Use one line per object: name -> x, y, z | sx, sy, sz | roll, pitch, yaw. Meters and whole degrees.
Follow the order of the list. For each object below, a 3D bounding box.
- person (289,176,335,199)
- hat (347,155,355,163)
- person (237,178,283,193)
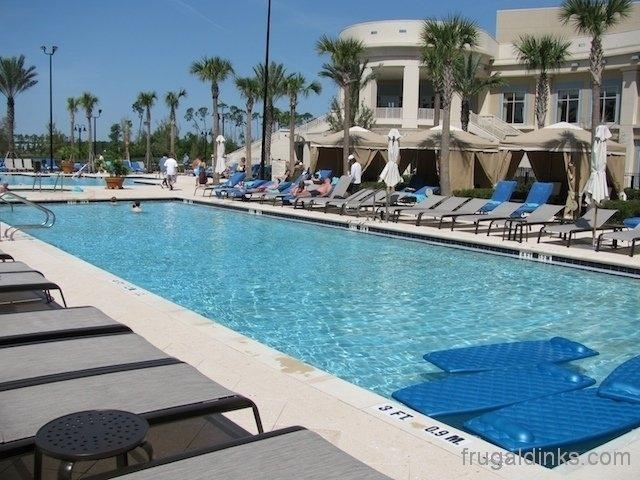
person -> -0.183, -1.853, 17.174 | 1.834, 0.683, 1.011 | -5, 10, -37
hat -> 1.340, -3.540, 20.408 | 0.349, 0.127, 0.456 | -17, 11, 3
person -> -2.392, -2.412, 19.666 | 1.616, 0.577, 0.882 | 0, 4, -31
